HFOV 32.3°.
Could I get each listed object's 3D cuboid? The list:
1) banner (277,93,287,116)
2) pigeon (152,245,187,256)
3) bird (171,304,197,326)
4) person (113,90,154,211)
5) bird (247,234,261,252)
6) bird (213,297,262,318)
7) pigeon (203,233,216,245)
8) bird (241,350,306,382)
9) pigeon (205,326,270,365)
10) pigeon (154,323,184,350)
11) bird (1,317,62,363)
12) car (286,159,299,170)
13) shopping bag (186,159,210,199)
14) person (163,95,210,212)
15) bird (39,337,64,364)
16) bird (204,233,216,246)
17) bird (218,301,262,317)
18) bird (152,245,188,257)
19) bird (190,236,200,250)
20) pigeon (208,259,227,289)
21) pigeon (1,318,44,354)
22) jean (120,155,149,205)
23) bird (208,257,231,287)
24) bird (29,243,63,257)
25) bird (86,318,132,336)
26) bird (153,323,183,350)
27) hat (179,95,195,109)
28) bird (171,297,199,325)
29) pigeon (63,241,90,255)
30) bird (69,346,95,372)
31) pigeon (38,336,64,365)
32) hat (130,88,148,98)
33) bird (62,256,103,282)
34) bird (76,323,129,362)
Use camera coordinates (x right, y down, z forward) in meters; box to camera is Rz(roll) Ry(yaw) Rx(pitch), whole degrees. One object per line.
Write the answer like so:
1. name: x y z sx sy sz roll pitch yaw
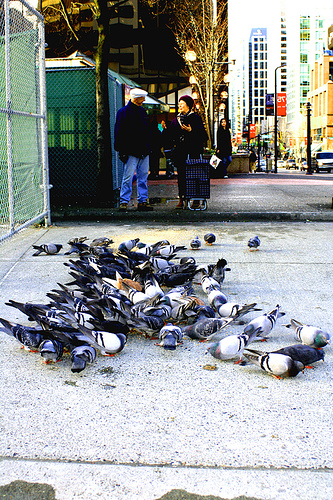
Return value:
1. banner: 9.230 -11.896 46.714 0.672 1.930 2.794 2 10 11
2. pigeon: 0.010 -0.016 4.985 0.328 0.090 0.146 -5 10 -13
3. bird: 0.083 0.363 3.298 0.121 0.145 0.164 -5 12 -27
4. person: -0.530 -1.688 9.825 0.715 2.015 0.448 -10 15 -43
5. bird: 0.943 -0.072 6.197 0.098 0.124 0.288 -1 3 12
6. bird: 0.383 0.333 3.320 0.297 0.090 0.179 -8 0 39
7. pigeon: 0.446 -0.121 6.413 0.110 0.122 0.130 -35 -9 18
8. bird: 0.485 0.522 2.676 0.292 0.138 0.235 4 10 18
9. pigeon: 0.349 0.467 2.826 0.342 0.140 0.104 -23 16 -20
10. pigeon: 0.002 0.451 2.996 0.149 0.112 0.288 2 -3 2
11. bird: -0.679 0.459 2.890 0.231 0.069 0.097 38 -25 0
12. car: 17.202 -11.884 78.285 1.828 1.500 3.737 -1 2 0
13. shopping bag: 0.469 -1.294 10.295 0.537 0.681 0.499 0 11 1
14. person: 0.321 -1.810 10.472 0.902 1.940 0.620 0 7 14
15. bird: -0.560 0.496 2.791 0.105 0.126 0.097 5 27 -6
16. bird: 0.470 -0.122 6.410 0.122 0.116 0.099 9 18 31
17. bird: 0.407 0.326 3.326 0.123 0.080 0.281 20 -20 -35
18. bird: 0.005 -0.014 4.968 0.330 0.089 0.144 -9 18 -19
19. bird: 0.293 -0.086 5.928 0.078 0.095 0.104 1 -14 2
20. pigeon: 0.361 0.164 4.236 0.081 0.231 0.120 4 53 2
21. pigeon: -0.714 0.417 2.840 0.193 0.166 0.097 -2 11 -14
22. jean: -0.584 -1.238 10.000 0.478 0.831 0.630 0 10 1
23. bird: 0.388 0.155 4.265 0.145 0.172 0.112 4 39 -2
24. bird: -1.239 -0.042 5.840 0.381 0.136 0.109 -8 33 -12
25. bird: -0.291 0.419 3.007 0.109 0.071 0.251 -9 -18 29
26. bird: 0.001 0.450 2.996 0.135 0.099 0.253 3 -6 3
27. hat: 0.372 -2.738 10.526 0.240 0.214 0.276 23 -18 7
28. bird: 0.088 0.348 3.266 0.091 0.159 0.105 29 31 -32
29. pigeon: -0.821 -0.040 5.297 0.127 0.068 0.167 -25 4 25
30. bird: -0.395 0.495 2.661 0.085 0.079 0.188 2 10 9
31. pigeon: -0.548 0.470 2.728 0.106 0.126 0.095 3 25 -3
32. hat: -0.485 -2.657 9.703 0.256 0.171 0.473 -1 10 -5
33. bird: -0.555 0.139 4.174 0.202 0.135 0.443 12 -6 27
34. bird: -0.332 0.445 2.915 0.252 0.215 0.265 -1 10 -9
